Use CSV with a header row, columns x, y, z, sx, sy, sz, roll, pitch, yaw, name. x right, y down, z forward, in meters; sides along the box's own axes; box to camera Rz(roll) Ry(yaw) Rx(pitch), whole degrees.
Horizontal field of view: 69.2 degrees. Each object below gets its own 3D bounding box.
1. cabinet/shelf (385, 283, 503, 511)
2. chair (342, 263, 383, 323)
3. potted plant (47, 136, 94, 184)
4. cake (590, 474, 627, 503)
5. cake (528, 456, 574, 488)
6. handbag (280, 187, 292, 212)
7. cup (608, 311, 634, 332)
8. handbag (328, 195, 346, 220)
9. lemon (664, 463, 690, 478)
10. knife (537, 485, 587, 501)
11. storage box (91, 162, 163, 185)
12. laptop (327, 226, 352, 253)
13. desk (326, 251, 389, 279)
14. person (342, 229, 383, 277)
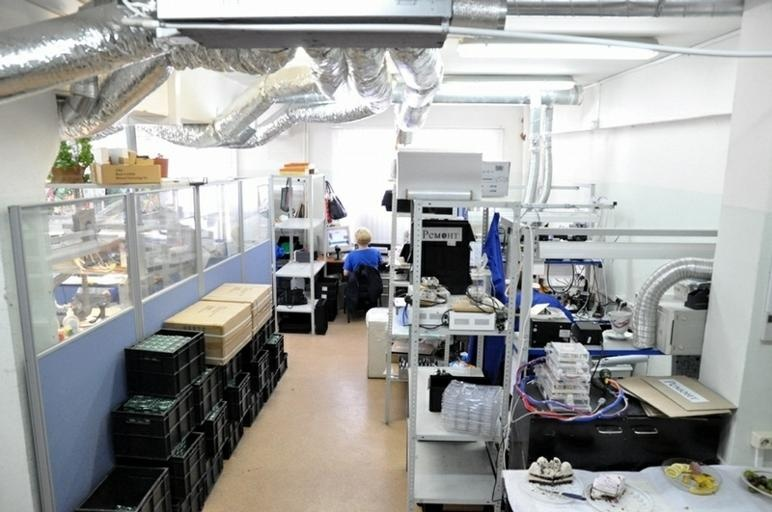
x,y,z,sx,sy,sz,roll,pitch,yaw,name
0.455,1.099,4.249,0.505,1.392,1.492,1,13,1,cabinet/shelf
-0.318,0.469,7.557,0.578,0.808,0.745,0,11,-2,chair
-2.436,-0.742,4.339,0.319,0.344,0.181,-3,7,-26,potted plant
1.280,1.331,3.238,0.197,0.105,0.178,2,6,20,cake
0.973,1.273,3.339,0.182,0.070,0.181,1,-1,-13,cake
-1.425,-0.832,7.991,0.138,0.388,0.231,3,34,-9,handbag
1.645,0.452,3.936,0.135,0.111,0.144,-1,0,0,cup
-0.731,-0.746,8.454,0.181,0.367,0.288,4,7,26,handbag
1.729,1.275,3.343,0.069,0.032,0.116,-5,7,29,lemon
1.007,1.375,3.245,0.218,0.025,0.050,3,3,36,knife
-2.012,-0.643,4.362,0.460,0.168,0.149,-3,7,-27,storage box
-0.702,-0.251,8.304,0.407,0.396,0.218,-4,4,-41,laptop
-0.284,0.053,7.644,0.563,0.584,0.325,1,1,-5,desk
-0.323,0.002,7.703,0.595,0.837,0.456,-10,26,-19,person
